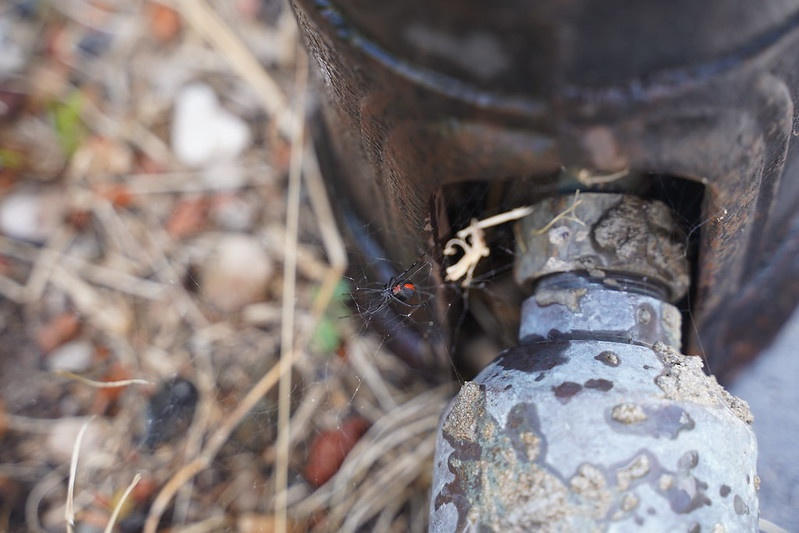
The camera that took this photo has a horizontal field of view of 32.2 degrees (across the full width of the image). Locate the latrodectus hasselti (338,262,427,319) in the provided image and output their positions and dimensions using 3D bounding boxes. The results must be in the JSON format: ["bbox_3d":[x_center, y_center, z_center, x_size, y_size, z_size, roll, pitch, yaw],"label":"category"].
[{"bbox_3d":[-0.040,0.076,4.441,0.143,0.157,0.050,2,-37,-23],"label":"latrodectus hasselti"}]
